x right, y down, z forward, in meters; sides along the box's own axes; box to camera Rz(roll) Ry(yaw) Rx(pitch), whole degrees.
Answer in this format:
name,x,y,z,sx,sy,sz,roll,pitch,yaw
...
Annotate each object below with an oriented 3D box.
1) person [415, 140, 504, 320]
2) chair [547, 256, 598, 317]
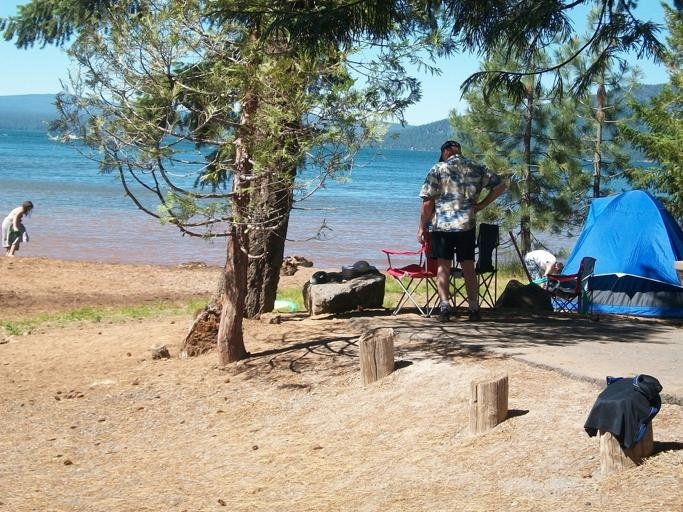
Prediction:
name,x,y,z,sx,sy,sz,roll,pitch,yaw
person,1.457,-0.291,10.023,0.931,2.367,0.858,4,12,7
chair,3.496,0.470,11.626,1.057,1.118,0.885,-1,-6,13
